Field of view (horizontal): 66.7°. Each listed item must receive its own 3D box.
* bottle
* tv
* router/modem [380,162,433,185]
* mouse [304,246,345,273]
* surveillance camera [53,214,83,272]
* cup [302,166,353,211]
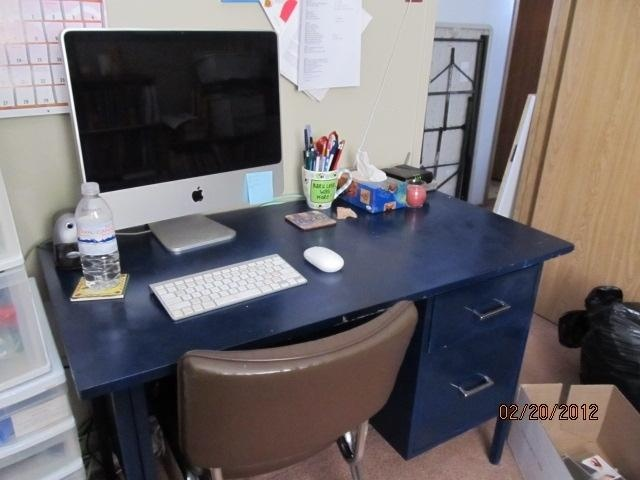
[{"bbox_3d":[-0.584,-0.003,1.311,0.102,0.308,0.106,6,20,-2],"label":"bottle"},{"bbox_3d":[-0.377,-0.328,1.405,0.606,0.517,0.065,-13,24,-27],"label":"tv"},{"bbox_3d":[0.323,-0.256,1.885,0.126,0.030,0.124,-16,29,-39],"label":"router/modem"},{"bbox_3d":[0.014,0.043,1.386,0.061,0.032,0.099,-20,33,-34],"label":"mouse"},{"bbox_3d":[-0.700,0.004,1.352,0.082,0.142,0.137,-8,34,-25],"label":"surveillance camera"},{"bbox_3d":[0.020,-0.175,1.773,0.156,0.163,0.109,-10,25,-34],"label":"cup"}]
